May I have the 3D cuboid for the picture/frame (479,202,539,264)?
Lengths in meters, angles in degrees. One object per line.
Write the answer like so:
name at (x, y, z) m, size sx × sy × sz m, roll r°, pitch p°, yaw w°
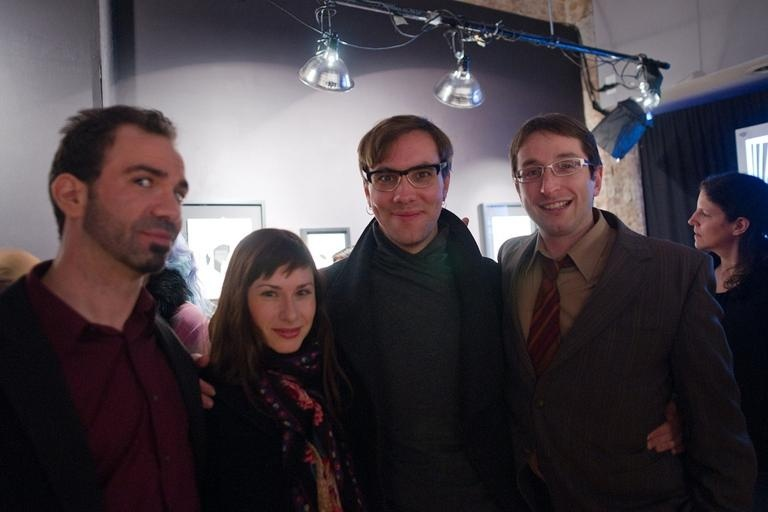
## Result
picture/frame at (0.867, -0.171, 4.286) m, size 0.505 × 0.545 × 0.058 m, roll -7°, pitch -7°, yaw -27°
